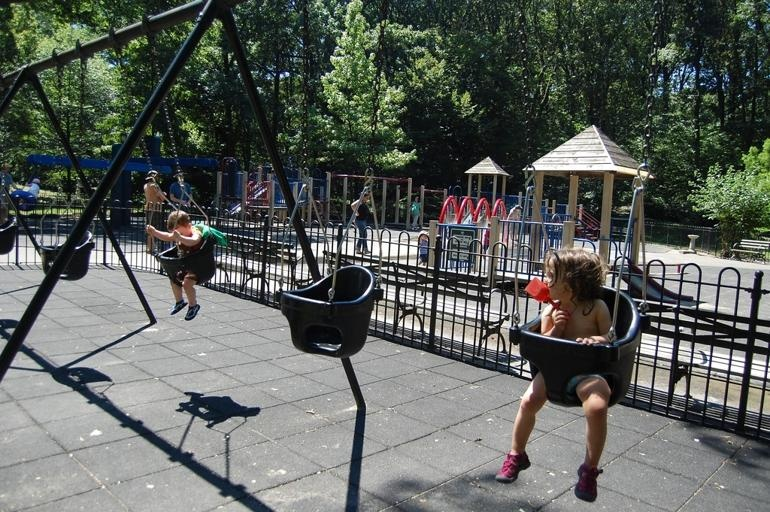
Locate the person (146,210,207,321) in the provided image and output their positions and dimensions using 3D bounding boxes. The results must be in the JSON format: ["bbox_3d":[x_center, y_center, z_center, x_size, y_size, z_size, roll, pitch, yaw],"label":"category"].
[{"bbox_3d":[-2.620,0.018,7.935,0.748,1.734,0.812,1,-1,-2],"label":"person"}]

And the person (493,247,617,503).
[{"bbox_3d":[1.388,0.834,4.983,0.734,1.959,0.976,0,0,38],"label":"person"}]

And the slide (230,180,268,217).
[{"bbox_3d":[-5.281,-2.405,23.653,1.249,1.366,2.482,-1,14,-15],"label":"slide"}]
